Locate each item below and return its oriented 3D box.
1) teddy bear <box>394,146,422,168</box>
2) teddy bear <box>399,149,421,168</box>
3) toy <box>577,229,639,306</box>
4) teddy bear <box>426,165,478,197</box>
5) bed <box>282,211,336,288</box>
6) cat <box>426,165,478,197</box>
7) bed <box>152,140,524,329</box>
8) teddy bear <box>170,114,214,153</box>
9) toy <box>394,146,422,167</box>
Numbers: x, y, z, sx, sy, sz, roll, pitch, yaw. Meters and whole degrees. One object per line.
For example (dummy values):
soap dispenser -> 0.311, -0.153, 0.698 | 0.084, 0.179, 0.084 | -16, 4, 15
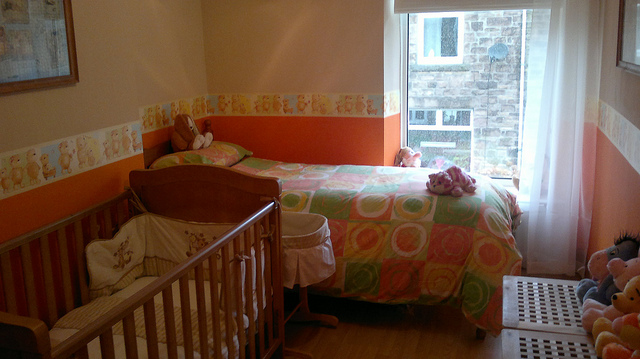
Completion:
teddy bear -> 0.949, -0.242, 4.892 | 0.275, 0.201, 0.195 | -2, -15, 6
teddy bear -> 0.976, -0.210, 4.842 | 0.168, 0.214, 0.100 | 0, -2, 2
toy -> 2.072, 0.619, 3.363 | 0.400, 0.572, 0.450 | 2, 0, 29
teddy bear -> 1.164, -0.006, 4.009 | 0.474, 0.217, 0.556 | 11, 19, 36
bed -> -0.077, 0.536, 3.505 | 0.431, 0.459, 0.454 | 0, 16, -5
cat -> 1.159, -0.004, 4.004 | 0.451, 0.223, 0.554 | 12, 19, 41
bed -> 0.100, 0.394, 4.345 | 2.901, 1.111, 1.717 | 8, 5, -4
teddy bear -> -1.246, -0.426, 4.254 | 0.400, 0.166, 0.286 | 6, 28, 36
toy -> 0.950, -0.225, 4.885 | 0.193, 0.255, 0.252 | 13, 16, -15
